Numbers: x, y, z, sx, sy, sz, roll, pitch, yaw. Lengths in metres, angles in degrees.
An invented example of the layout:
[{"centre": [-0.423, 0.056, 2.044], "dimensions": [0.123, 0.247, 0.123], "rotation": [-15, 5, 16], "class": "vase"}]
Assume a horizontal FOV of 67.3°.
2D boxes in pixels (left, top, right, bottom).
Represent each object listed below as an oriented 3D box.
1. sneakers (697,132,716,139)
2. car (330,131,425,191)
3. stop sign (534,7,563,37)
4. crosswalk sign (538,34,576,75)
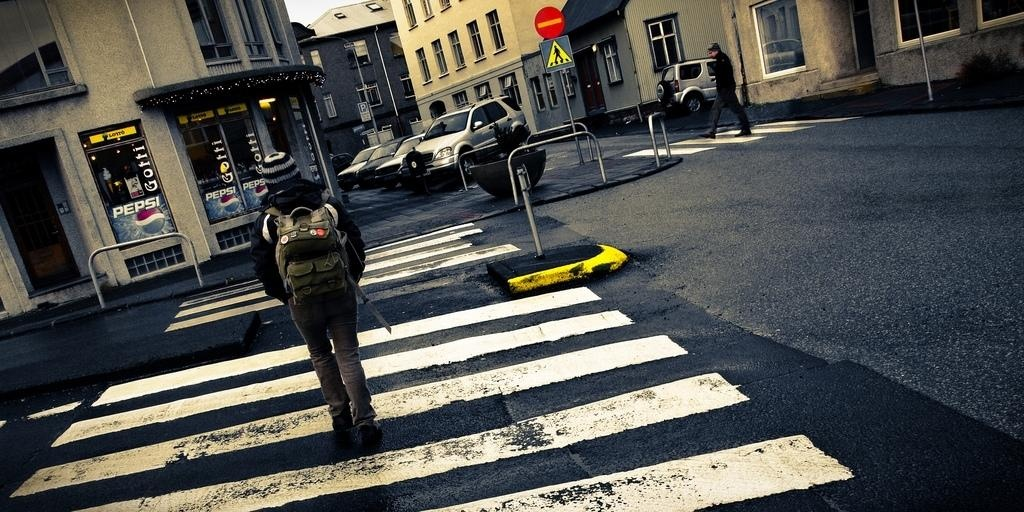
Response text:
[{"centre": [6.843, -4.206, 27.010], "dimensions": [0.570, 0.209, 0.199], "rotation": [5, 13, 23], "class": "sneakers"}, {"centre": [-7.251, -4.111, 38.276], "dimensions": [2.593, 1.789, 5.594], "rotation": [-5, 13, 27], "class": "car"}, {"centre": [1.176, -7.346, 24.346], "dimensions": [0.781, 0.960, 1.361], "rotation": [-11, 18, 3], "class": "stop sign"}, {"centre": [1.506, -6.556, 25.046], "dimensions": [1.129, 1.048, 0.095], "rotation": [-7, 12, 34], "class": "crosswalk sign"}]
